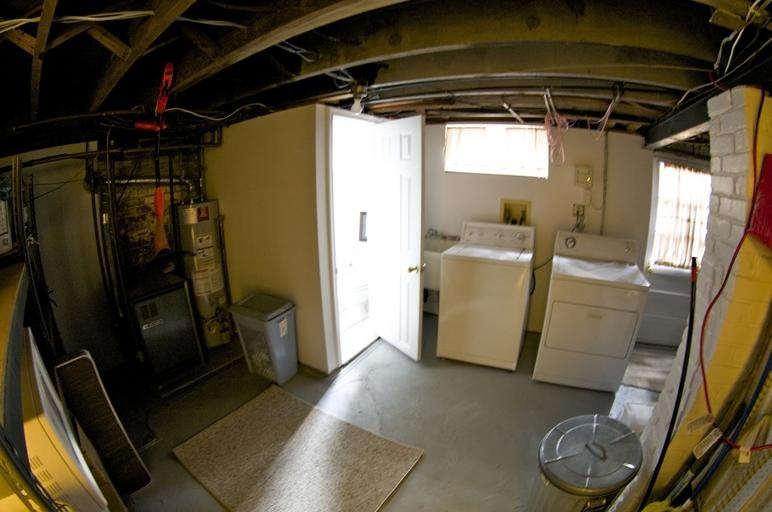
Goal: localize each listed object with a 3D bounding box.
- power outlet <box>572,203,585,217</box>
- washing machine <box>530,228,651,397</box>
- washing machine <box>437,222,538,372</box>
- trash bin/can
[{"bbox_3d":[2.026,-0.480,5.492,0.127,0.134,0.021,2,13,7],"label":"power outlet"},{"bbox_3d":[1.985,0.578,5.171,0.927,1.453,0.930,16,27,29],"label":"washing machine"},{"bbox_3d":[1.061,0.390,5.470,0.849,1.418,0.785,6,14,14],"label":"washing machine"},{"bbox_3d":[-1.179,0.823,5.191,0.534,0.790,0.480,9,16,34],"label":"trash bin/can"}]
